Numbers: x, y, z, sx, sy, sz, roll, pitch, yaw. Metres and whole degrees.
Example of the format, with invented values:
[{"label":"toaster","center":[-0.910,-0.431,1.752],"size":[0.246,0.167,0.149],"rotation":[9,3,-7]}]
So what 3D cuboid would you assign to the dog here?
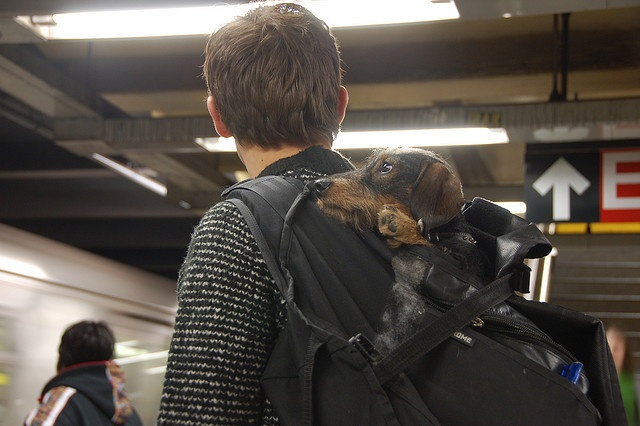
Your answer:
[{"label":"dog","center":[0.374,-0.081,3.608],"size":[0.780,0.511,0.652],"rotation":[9,1,-7]}]
